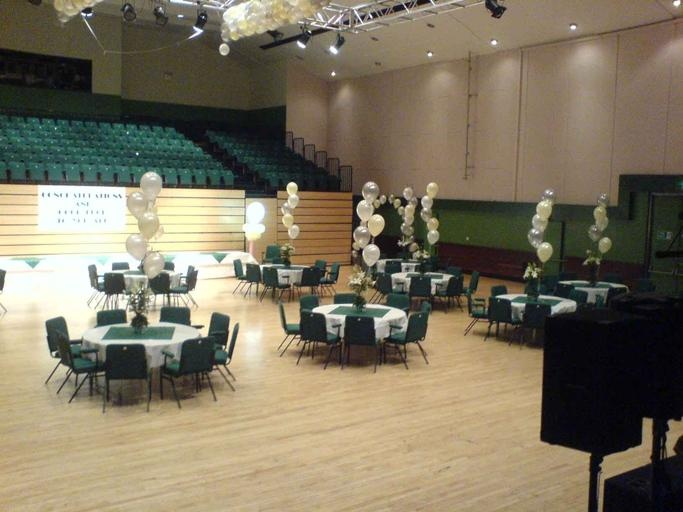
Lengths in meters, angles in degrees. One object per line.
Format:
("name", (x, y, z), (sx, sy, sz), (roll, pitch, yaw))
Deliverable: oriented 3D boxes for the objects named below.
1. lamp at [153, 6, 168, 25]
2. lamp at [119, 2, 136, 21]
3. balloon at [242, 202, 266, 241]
("lamp", (-4.651, -6.177, 14.456), (0.269, 0.442, 0.362), (-3, 11, -17))
("lamp", (-4.978, -5.750, 13.203), (0.244, 0.394, 0.497), (-2, 11, -15))
("balloon", (-2.755, -1.015, 17.883), (0.672, 1.304, 1.663), (-1, 11, -9))
